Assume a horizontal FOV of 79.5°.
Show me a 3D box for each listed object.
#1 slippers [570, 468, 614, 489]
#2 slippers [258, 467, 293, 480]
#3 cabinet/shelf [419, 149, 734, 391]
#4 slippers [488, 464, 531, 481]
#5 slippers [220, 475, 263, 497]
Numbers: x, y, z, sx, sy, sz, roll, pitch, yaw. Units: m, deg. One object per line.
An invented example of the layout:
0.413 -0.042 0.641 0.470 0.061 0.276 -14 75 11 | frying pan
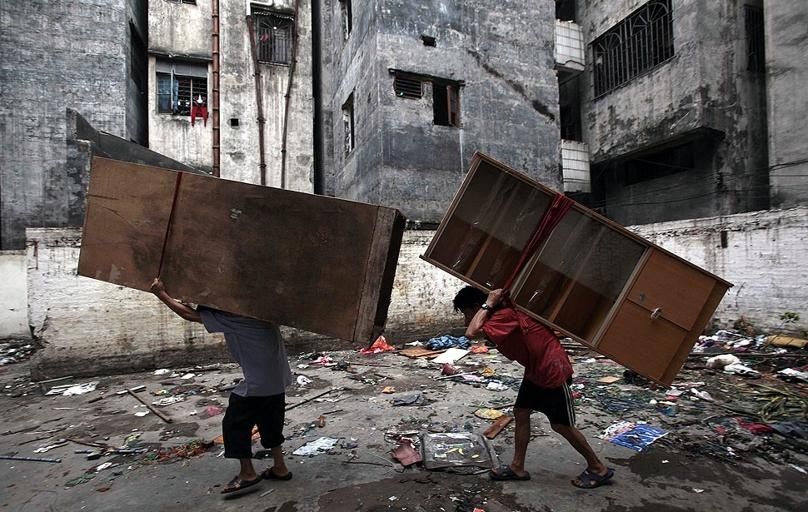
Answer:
2.612 3.098 6.760 0.608 0.138 0.233 -7 21 -2 | slippers
-1.825 3.107 6.963 0.495 0.143 0.162 6 -9 1 | slippers
2.212 0.256 6.845 4.312 1.629 0.894 26 -11 -17 | cabinet/shelf
1.493 3.069 6.914 0.557 0.142 0.197 2 -9 2 | slippers
-2.261 3.181 6.809 0.588 0.162 0.200 -10 -2 -29 | slippers
